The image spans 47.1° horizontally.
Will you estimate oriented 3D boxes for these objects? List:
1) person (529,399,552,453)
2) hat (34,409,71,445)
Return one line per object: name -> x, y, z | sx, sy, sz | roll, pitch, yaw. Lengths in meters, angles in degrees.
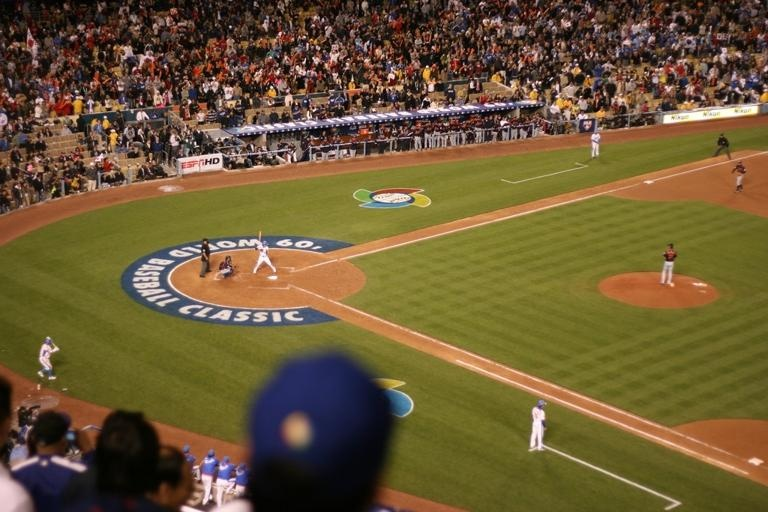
person -> 6.269, 6.892, 36.485 | 0.665, 2.169, 1.589 | -3, 17, 11
hat -> -7.419, 3.822, 19.773 | 0.653, 0.679, 0.788 | 9, 26, 18
